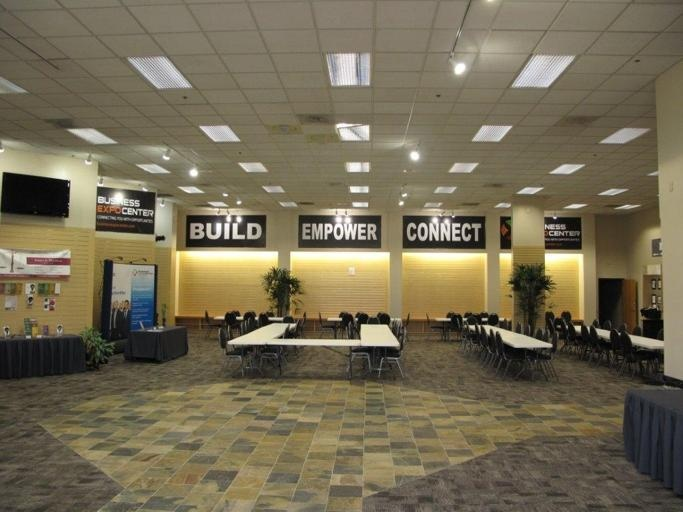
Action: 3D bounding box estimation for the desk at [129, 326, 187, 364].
[{"bbox_3d":[-4.935,2.348,11.040,1.012,0.678,1.550,0,-5,5],"label":"desk"}]

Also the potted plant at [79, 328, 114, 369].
[{"bbox_3d":[-6.006,2.241,9.871,0.904,0.828,0.850,-1,3,37],"label":"potted plant"}]
